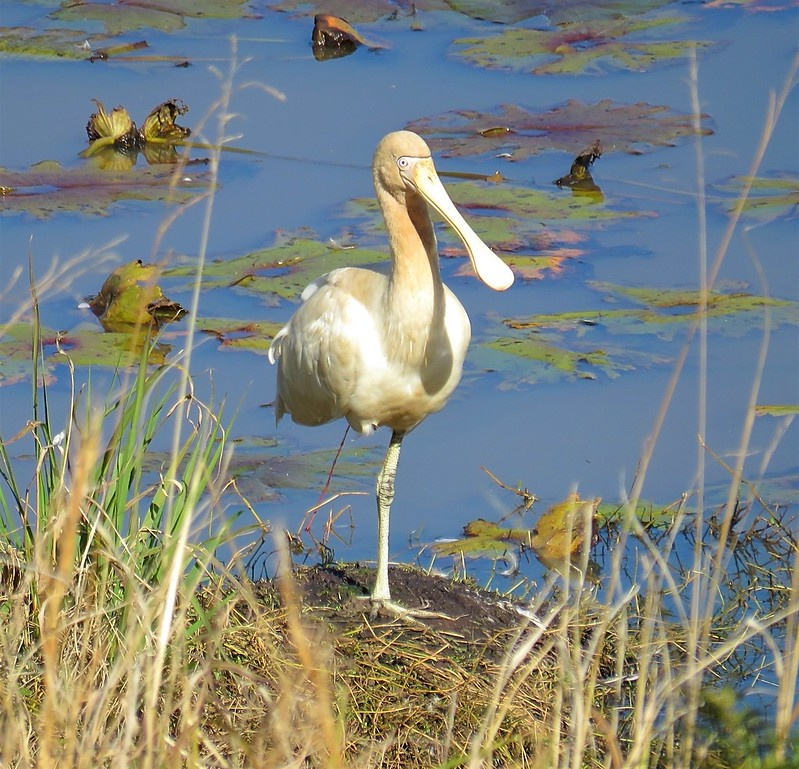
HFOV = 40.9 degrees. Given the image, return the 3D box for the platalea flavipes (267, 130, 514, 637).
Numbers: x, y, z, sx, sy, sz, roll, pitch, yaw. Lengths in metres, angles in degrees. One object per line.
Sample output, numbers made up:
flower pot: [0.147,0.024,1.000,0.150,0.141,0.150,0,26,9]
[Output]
platalea flavipes: [-0.003,-0.092,4.385,0.743,1.861,1.108,-2,21,-15]
